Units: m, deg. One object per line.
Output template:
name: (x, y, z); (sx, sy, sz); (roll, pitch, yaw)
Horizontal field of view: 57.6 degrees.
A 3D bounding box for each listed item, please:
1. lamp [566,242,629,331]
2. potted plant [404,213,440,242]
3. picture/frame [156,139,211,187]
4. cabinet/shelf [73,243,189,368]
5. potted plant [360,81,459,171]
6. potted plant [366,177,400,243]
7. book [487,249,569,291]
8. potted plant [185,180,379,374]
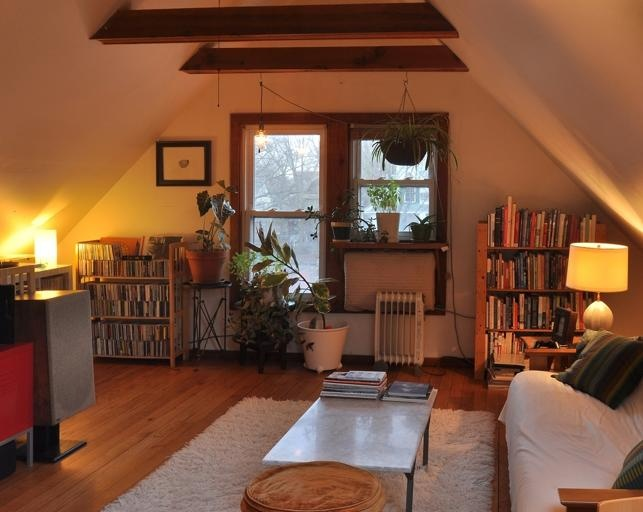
lamp: (2.050, 0.265, 4.347); (0.411, 0.626, 0.406); (0, 1, -2)
potted plant: (0.988, -0.263, 5.620); (0.266, 0.187, 0.271); (0, -6, 8)
picture/frame: (-1.379, -0.978, 5.990); (0.479, 0.409, 0.040); (0, 2, 2)
cabinet/shelf: (-1.796, 0.473, 5.569); (1.178, 1.412, 0.494); (-1, 1, 0)
potted plant: (0.751, -1.160, 5.322); (0.770, 0.702, 0.850); (5, 5, 34)
potted plant: (0.613, -0.450, 5.669); (0.304, 0.580, 0.359); (1, 7, 7)
book: (1.847, 0.134, 5.283); (0.681, 0.334, 0.137); (2, 7, 14)
potted plant: (-0.490, 0.175, 5.658); (1.411, 1.795, 0.995); (4, 8, 31)
